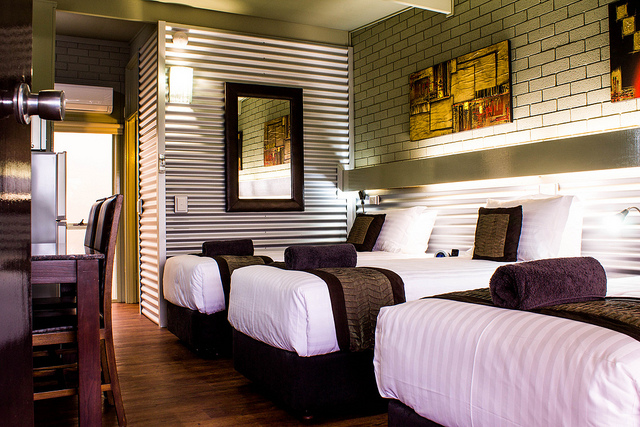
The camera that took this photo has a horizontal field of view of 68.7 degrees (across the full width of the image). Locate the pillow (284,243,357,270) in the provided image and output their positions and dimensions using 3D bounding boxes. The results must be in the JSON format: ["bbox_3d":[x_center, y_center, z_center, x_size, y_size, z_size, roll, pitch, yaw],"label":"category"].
[{"bbox_3d":[-0.016,0.292,3.508,0.482,0.175,0.234,1,27,-23],"label":"pillow"}]

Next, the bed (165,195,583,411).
[{"bbox_3d":[0.486,0.655,3.669,2.068,0.979,2.257,4,-7,-30],"label":"bed"}]
